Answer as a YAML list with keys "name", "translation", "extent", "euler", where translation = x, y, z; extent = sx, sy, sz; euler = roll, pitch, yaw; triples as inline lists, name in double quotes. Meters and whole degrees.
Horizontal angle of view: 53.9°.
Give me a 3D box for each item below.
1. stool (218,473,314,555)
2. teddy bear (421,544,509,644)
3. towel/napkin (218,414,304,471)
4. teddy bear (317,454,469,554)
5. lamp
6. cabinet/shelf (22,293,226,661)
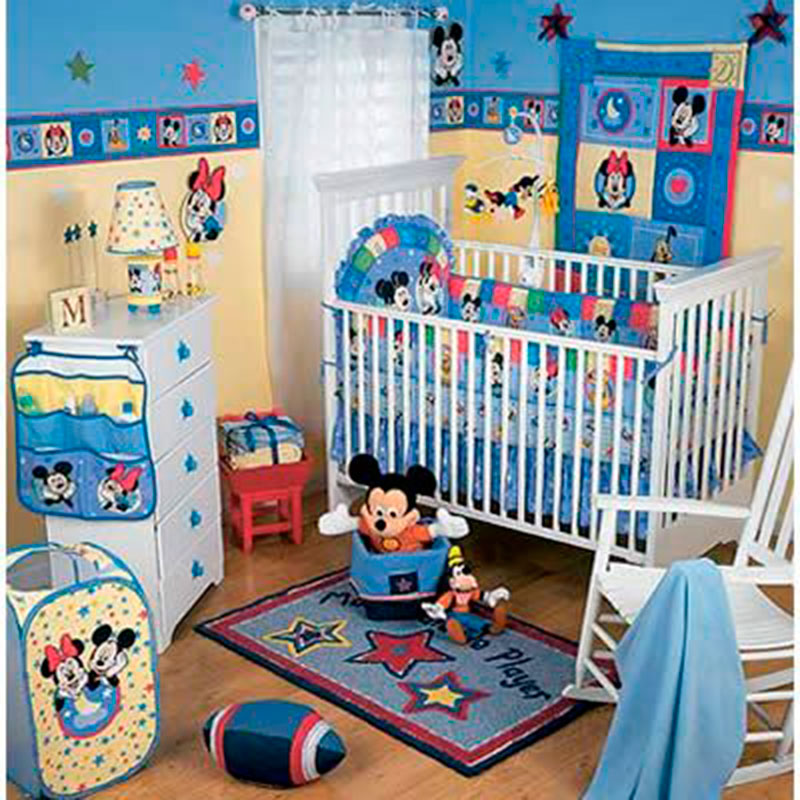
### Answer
- name: "stool"
  translation: [-0.537, 0.382, 3.176]
  extent: [0.299, 0.356, 0.305]
  euler: [-4, 9, -24]
- name: "teddy bear"
  translation: [0.197, 0.592, 2.454]
  extent: [0.235, 0.298, 0.205]
  euler: [-5, 1, -6]
- name: "towel/napkin"
  translation: [-0.531, 0.154, 3.070]
  extent: [0.318, 0.182, 0.286]
  euler: [-3, 13, -12]
- name: "teddy bear"
  translation: [-0.011, 0.363, 2.751]
  extent: [0.321, 0.375, 0.148]
  euler: [1, 1, 9]
- name: "lamp"
  translation: [-0.804, -0.480, 2.454]
  extent: [0.192, 0.381, 0.198]
  euler: [-9, 23, -28]
- name: "cabinet/shelf"
  translation: [-0.837, 0.218, 2.438]
  extent: [0.386, 1.014, 0.586]
  euler: [1, 12, 7]
